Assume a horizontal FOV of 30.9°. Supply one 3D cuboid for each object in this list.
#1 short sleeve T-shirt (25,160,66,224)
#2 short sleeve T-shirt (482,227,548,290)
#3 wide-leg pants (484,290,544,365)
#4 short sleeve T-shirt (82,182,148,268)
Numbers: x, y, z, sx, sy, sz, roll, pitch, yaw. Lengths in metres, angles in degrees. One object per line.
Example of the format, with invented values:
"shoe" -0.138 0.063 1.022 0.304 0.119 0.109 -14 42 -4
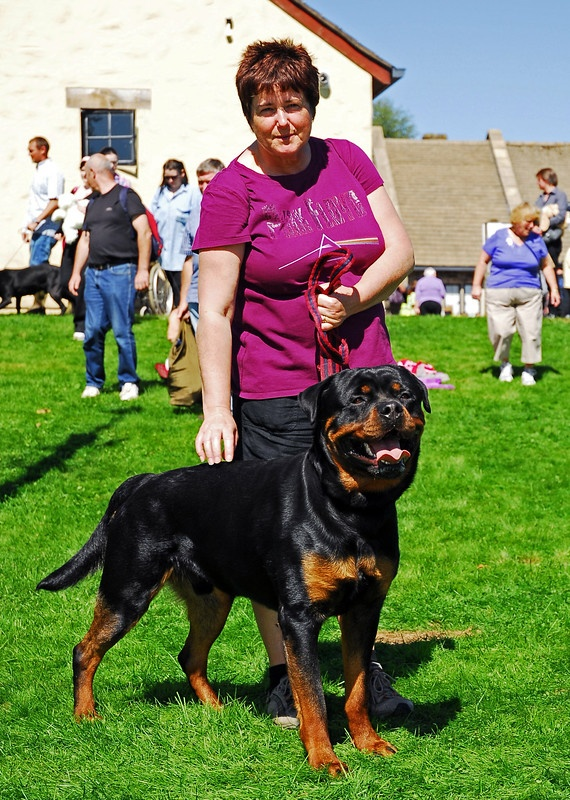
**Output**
"short sleeve T-shirt" -3.554 -3.112 15.241 0.444 0.923 1.119 -5 24 -33
"short sleeve T-shirt" 2.545 -1.583 11.329 0.756 0.630 0.412 3 13 -4
"wide-leg pants" 2.512 -0.807 11.335 0.586 0.845 0.452 -1 2 14
"short sleeve T-shirt" -1.593 -1.627 9.562 0.606 0.804 0.340 -1 2 5
